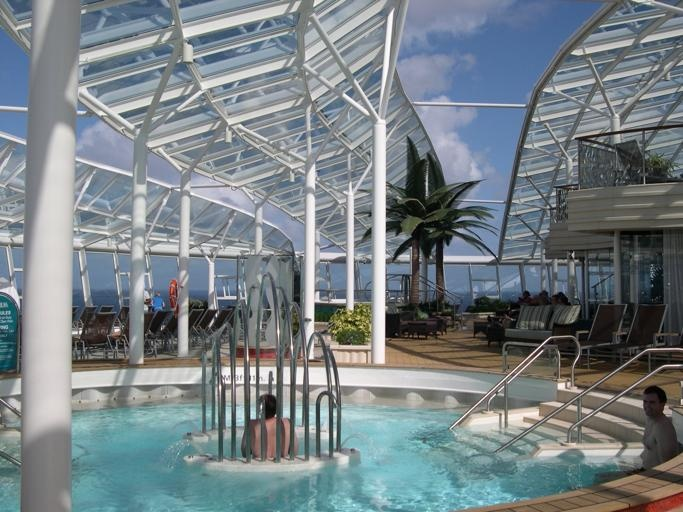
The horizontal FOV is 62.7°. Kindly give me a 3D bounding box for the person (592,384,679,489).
[{"bbox_3d":[3.561,2.118,6.537,1.080,1.143,0.602,-5,6,-39],"label":"person"}]

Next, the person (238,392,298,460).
[{"bbox_3d":[-1.026,2.438,8.139,0.805,1.006,0.516,-4,19,-18],"label":"person"}]

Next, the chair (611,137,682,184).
[{"bbox_3d":[7.427,-2.236,13.786,1.033,1.082,1.596,-3,3,-40],"label":"chair"}]

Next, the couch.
[{"bbox_3d":[5.511,1.944,15.597,0.912,1.165,2.489,5,-6,-16],"label":"couch"}]

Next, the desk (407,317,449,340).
[{"bbox_3d":[3.127,2.689,20.864,1.053,0.890,2.012,0,5,19],"label":"desk"}]

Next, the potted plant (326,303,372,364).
[{"bbox_3d":[0.114,2.088,15.080,1.321,1.528,1.164,0,0,11],"label":"potted plant"}]
